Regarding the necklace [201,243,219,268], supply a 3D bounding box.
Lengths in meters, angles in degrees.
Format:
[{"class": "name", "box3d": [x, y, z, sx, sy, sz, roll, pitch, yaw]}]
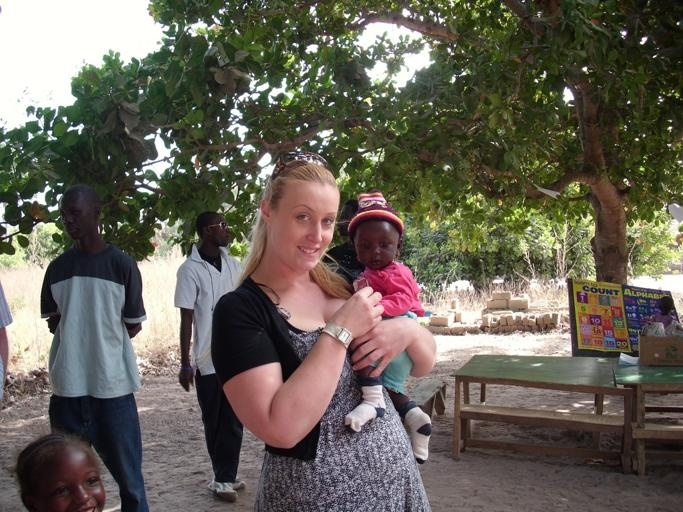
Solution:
[{"class": "necklace", "box3d": [-1.377, -0.006, 5.550, 0.185, 0.240, 0.092, -12, 0, -23]}]

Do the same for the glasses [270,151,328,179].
[{"class": "glasses", "box3d": [-0.210, -0.438, 2.443, 0.179, 0.051, 0.182, -23, -21, 32]}]

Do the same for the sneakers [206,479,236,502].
[{"class": "sneakers", "box3d": [-1.233, 2.374, 5.424, 0.141, 0.151, 0.375, 2, -6, -38]}]

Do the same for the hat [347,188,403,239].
[{"class": "hat", "box3d": [0.213, -0.245, 3.155, 0.280, 0.251, 0.301, -3, -34, 3]}]
